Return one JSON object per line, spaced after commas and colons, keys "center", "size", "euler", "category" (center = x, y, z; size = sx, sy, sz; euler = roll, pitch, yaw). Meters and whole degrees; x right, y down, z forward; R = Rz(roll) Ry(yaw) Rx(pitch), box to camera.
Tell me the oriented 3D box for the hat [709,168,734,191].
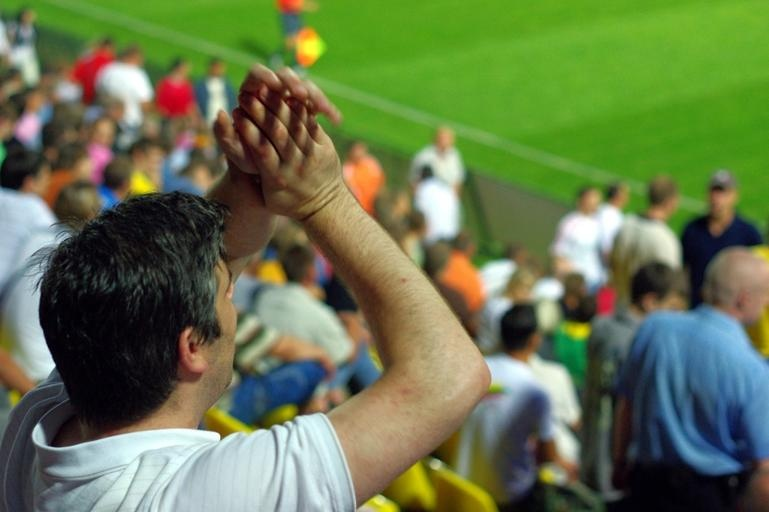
{"center": [2.139, -0.478, 7.840], "size": [0.100, 0.091, 0.149], "euler": [-6, -11, 29], "category": "hat"}
